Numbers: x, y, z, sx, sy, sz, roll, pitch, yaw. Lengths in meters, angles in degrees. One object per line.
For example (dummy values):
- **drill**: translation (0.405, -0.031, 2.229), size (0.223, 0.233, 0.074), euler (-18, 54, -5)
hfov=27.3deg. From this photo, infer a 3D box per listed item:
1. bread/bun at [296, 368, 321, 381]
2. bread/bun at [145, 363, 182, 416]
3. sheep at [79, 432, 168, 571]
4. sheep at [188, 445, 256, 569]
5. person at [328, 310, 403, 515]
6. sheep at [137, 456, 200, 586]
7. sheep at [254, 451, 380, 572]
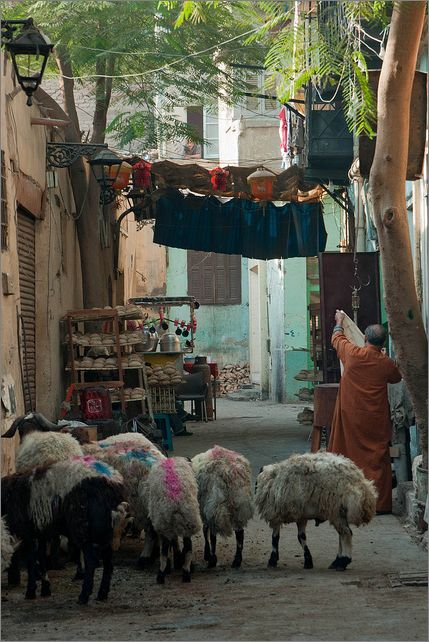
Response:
- **bread/bun**: translation (1.615, 0.893, 15.201), size (0.307, 0.098, 0.328), euler (7, 16, 16)
- **bread/bun**: translation (-0.725, 0.945, 12.244), size (0.430, 0.667, 0.423), euler (0, 3, -17)
- **sheep**: translation (-0.632, 1.206, 6.093), size (0.582, 0.882, 0.582), euler (3, 3, -38)
- **sheep**: translation (-0.032, 1.322, 6.467), size (0.408, 0.865, 1.401), euler (0, -8, -14)
- **person**: translation (1.383, 0.875, 7.919), size (0.641, 1.523, 0.763), euler (1, 4, 19)
- **sheep**: translation (-0.272, 1.285, 5.694), size (0.359, 0.772, 0.528), euler (-2, -1, -1)
- **sheep**: translation (0.710, 1.208, 6.043), size (0.764, 0.760, 0.784), euler (0, 2, 10)
